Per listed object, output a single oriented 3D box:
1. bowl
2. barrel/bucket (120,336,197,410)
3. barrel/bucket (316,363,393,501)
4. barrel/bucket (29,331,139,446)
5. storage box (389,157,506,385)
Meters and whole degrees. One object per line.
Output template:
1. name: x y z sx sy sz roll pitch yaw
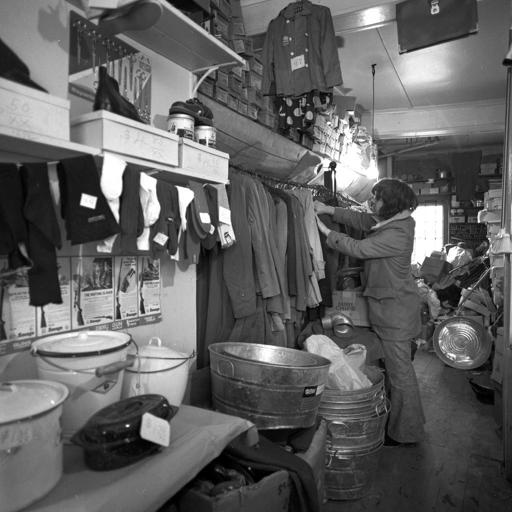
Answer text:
1. bowl: -0.403 0.519 1.480 0.136 0.104 0.262 12 7 22
2. barrel/bucket: -0.397 0.438 1.909 0.250 0.324 0.257 3 -6 0
3. barrel/bucket: 0.538 0.994 2.834 0.472 0.798 0.535 0 1 39
4. barrel/bucket: -0.623 0.391 1.661 0.317 0.413 0.308 -1 -2 0
5. storage box: 2.092 0.648 5.029 1.128 2.314 0.981 1 10 41
